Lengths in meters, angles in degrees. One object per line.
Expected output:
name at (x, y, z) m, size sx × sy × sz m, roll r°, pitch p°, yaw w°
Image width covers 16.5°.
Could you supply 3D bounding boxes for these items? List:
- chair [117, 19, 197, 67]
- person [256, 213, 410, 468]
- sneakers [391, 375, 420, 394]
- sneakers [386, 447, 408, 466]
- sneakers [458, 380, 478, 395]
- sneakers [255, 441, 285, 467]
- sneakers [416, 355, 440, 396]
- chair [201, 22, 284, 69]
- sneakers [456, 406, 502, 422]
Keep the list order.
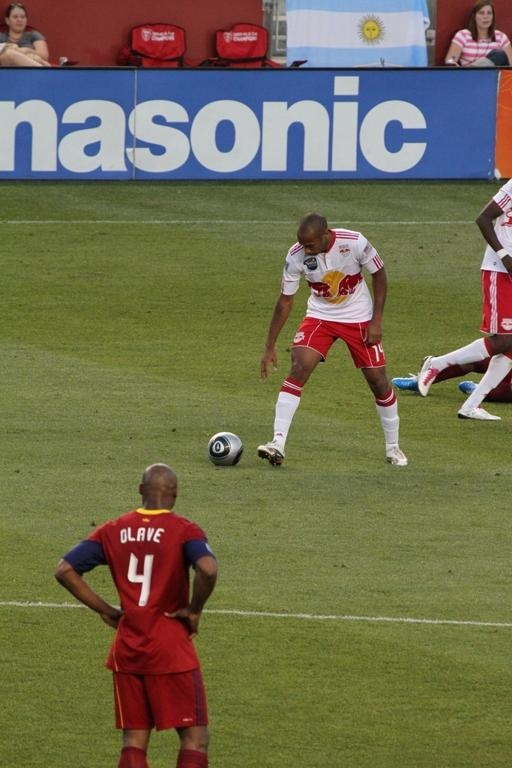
chair at (-1.395, -4.587, 24.062) m, size 0.894 × 0.545 × 0.638 m, roll -1°, pitch 16°, yaw -5°
person at (0.514, -0.282, 11.270) m, size 0.963 × 1.668 × 0.670 m, roll 0°, pitch 16°, yaw 0°
sneakers at (1.155, 0.006, 13.484) m, size 0.239 × 0.110 × 0.088 m, roll -2°, pitch 8°, yaw -6°
sneakers at (0.929, 0.471, 11.445) m, size 0.094 × 0.065 × 0.142 m, roll -2°, pitch 23°, yaw -18°
sneakers at (1.641, 0.028, 13.670) m, size 0.070 × 0.060 × 0.175 m, roll -5°, pitch 3°, yaw -13°
sneakers at (0.110, 0.447, 11.249) m, size 0.123 × 0.242 × 0.086 m, roll -47°, pitch 47°, yaw -11°
sneakers at (1.292, -0.055, 13.126) m, size 0.140 × 0.334 × 0.112 m, roll 20°, pitch 4°, yaw 44°
chair at (-0.213, -4.573, 23.931) m, size 0.908 × 0.524 × 1.775 m, roll 0°, pitch 16°, yaw -1°
sneakers at (1.611, 0.204, 12.703) m, size 0.288 × 0.118 × 0.115 m, roll 0°, pitch 7°, yaw 2°
